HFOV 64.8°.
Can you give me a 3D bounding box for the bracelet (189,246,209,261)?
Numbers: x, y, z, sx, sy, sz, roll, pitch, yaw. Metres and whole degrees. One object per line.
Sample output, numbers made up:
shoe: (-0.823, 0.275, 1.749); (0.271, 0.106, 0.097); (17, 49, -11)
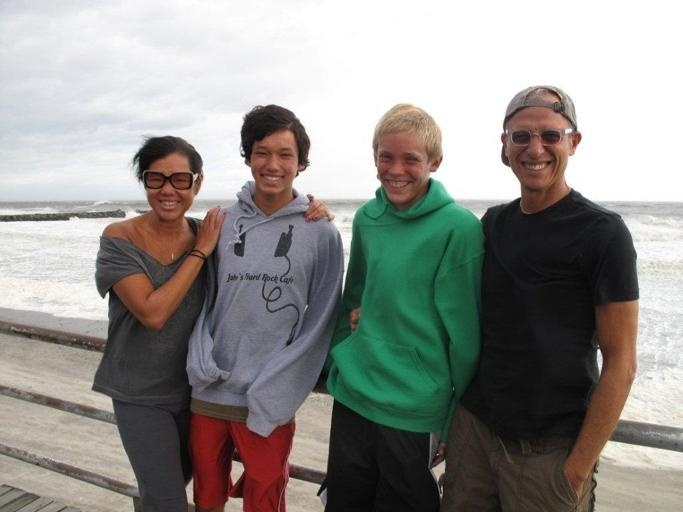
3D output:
bracelet: (-0.915, -0.012, 3.475); (0.087, 0.022, 0.085); (35, 7, 0)
